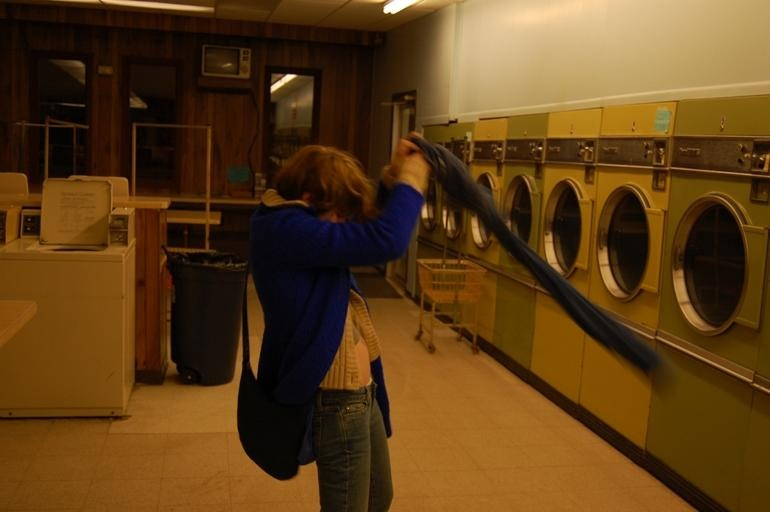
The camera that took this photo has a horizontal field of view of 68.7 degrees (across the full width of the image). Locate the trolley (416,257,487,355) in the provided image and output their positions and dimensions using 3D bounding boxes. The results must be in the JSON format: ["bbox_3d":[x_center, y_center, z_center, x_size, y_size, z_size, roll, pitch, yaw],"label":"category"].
[{"bbox_3d":[0.700,0.411,6.343,0.790,1.211,1.014,0,7,-6],"label":"trolley"}]

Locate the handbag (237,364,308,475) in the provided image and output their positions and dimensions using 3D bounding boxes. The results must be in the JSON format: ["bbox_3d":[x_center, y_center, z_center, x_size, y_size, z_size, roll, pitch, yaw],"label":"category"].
[{"bbox_3d":[-0.422,0.625,2.370,0.240,0.427,0.435,11,25,6],"label":"handbag"}]

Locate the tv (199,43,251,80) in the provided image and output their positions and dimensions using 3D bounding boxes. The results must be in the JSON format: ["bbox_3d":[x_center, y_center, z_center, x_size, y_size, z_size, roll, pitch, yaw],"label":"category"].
[{"bbox_3d":[-2.670,-3.231,9.408,0.751,0.516,0.477,-1,12,-17],"label":"tv"}]

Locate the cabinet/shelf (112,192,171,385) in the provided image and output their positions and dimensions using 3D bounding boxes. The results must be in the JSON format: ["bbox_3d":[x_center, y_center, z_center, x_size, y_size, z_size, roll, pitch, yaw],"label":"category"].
[{"bbox_3d":[-2.105,0.291,4.984,0.386,1.559,0.599,-2,13,-22],"label":"cabinet/shelf"}]
